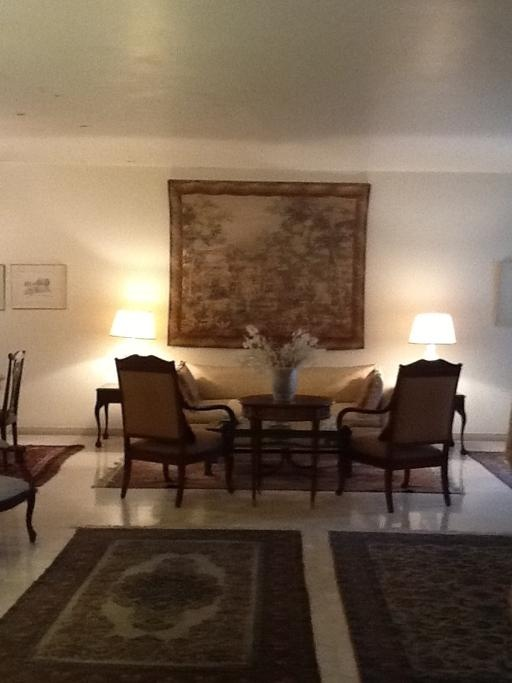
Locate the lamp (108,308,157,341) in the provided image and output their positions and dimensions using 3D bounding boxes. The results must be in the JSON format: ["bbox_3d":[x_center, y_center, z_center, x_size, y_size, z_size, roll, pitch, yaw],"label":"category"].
[{"bbox_3d":[-1.219,-0.165,5.969,0.367,0.179,0.364,2,0,37],"label":"lamp"}]

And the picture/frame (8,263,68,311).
[{"bbox_3d":[-2.308,-0.593,6.370,0.631,0.418,0.064,0,-1,-1],"label":"picture/frame"}]

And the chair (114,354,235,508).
[{"bbox_3d":[-0.496,0.578,3.931,0.774,0.990,0.353,-1,7,-11],"label":"chair"}]

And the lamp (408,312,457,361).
[{"bbox_3d":[1.784,-0.053,6.012,0.411,0.437,0.554,3,7,24],"label":"lamp"}]

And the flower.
[{"bbox_3d":[0.195,0.070,4.525,0.613,0.297,0.486,2,4,4],"label":"flower"}]

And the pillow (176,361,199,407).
[{"bbox_3d":[-0.641,0.400,5.708,0.107,0.302,0.340,-22,-27,15],"label":"pillow"}]

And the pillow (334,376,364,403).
[{"bbox_3d":[0.917,0.488,5.802,0.231,0.216,0.281,-1,-13,16],"label":"pillow"}]

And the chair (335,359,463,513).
[{"bbox_3d":[0.898,0.601,3.909,0.765,0.993,0.411,2,7,14],"label":"chair"}]

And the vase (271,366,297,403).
[{"bbox_3d":[0.204,0.309,4.210,0.251,0.229,0.227,0,0,-1],"label":"vase"}]

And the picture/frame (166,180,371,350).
[{"bbox_3d":[0.160,-0.817,6.218,2.230,1.492,0.080,0,4,2],"label":"picture/frame"}]

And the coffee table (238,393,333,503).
[{"bbox_3d":[0.208,0.732,4.208,0.630,0.689,0.776,1,6,6],"label":"coffee table"}]
